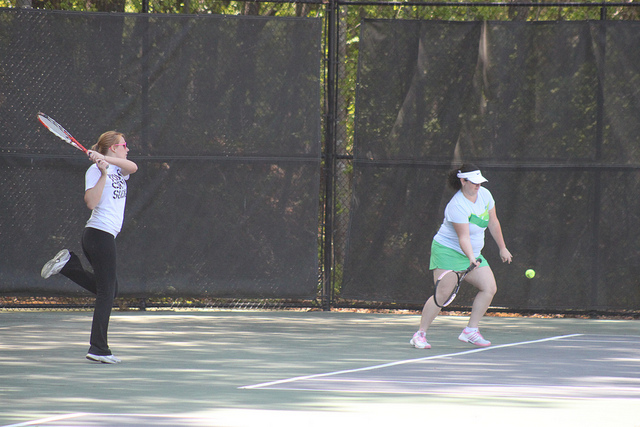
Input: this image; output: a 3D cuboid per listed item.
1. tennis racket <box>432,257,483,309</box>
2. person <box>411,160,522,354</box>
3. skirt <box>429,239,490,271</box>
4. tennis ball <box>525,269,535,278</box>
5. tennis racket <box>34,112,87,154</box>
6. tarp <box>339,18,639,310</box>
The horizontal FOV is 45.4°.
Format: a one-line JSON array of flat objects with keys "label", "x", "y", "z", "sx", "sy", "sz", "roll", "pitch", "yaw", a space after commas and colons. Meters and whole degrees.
[{"label": "tennis racket", "x": 1.406, "y": 0.768, "z": 8.563, "sx": 0.405, "sy": 0.090, "sz": 1.079, "roll": 43, "pitch": 1, "yaw": -34}, {"label": "person", "x": 1.657, "y": 0.452, "z": 8.312, "sx": 1.186, "sy": 2.039, "sz": 1.044, "roll": -5, "pitch": 10, "yaw": -25}, {"label": "skirt", "x": 1.514, "y": 0.578, "z": 8.319, "sx": 0.328, "sy": 0.336, "sz": 0.554, "roll": 7, "pitch": 6, "yaw": -41}, {"label": "tennis ball", "x": 2.517, "y": 0.714, "z": 9.178, "sx": 0.101, "sy": 0.102, "sz": 0.104, "roll": -4, "pitch": -29, "yaw": -2}, {"label": "tennis racket", "x": -3.161, "y": -1.006, "z": 9.313, "sx": 0.902, "sy": 0.232, "sz": 0.068, "roll": 43, "pitch": 37, "yaw": 14}, {"label": "tarp", "x": 2.273, "y": -0.695, "z": 9.639, "sx": 3.668, "sy": 3.248, "sz": 0.146, "roll": 1, "pitch": -2, "yaw": 3}]
